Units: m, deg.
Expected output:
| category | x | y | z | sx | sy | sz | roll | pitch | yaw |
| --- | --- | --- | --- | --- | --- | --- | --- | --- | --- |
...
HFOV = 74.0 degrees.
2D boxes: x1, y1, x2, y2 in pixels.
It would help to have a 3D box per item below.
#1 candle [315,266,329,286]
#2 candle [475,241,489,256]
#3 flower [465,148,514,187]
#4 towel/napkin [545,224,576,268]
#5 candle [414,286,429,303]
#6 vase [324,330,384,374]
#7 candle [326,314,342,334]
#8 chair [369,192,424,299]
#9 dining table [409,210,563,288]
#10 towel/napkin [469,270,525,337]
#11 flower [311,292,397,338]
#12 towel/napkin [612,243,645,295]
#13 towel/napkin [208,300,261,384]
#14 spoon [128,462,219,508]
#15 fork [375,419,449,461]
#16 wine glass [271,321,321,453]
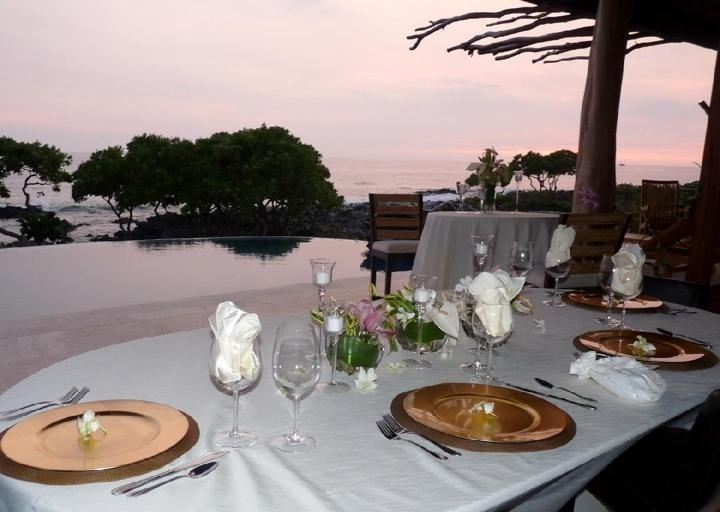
| category | x | y | z | sx | sy | sz | roll | pitch | yaw |
| --- | --- | --- | --- | --- | --- | --- | --- | --- | --- |
| candle | -0.142 | 0.079 | 1.797 | 0.079 | 0.064 | 0.071 | 1 | 3 | 2 |
| candle | 0.511 | -0.028 | 2.014 | 0.061 | 0.043 | 0.055 | 0 | 4 | -1 |
| flower | 1.437 | -0.951 | 5.273 | 0.494 | 0.306 | 0.465 | 1 | 0 | 16 |
| towel/napkin | 0.859 | -0.036 | 2.091 | 0.146 | 0.187 | 0.081 | 14 | -1 | -14 |
| candle | 0.171 | 0.109 | 1.330 | 0.047 | 0.033 | 0.041 | -2 | 16 | -4 |
| vase | -0.014 | 0.254 | 1.275 | 0.132 | 0.077 | 0.113 | 4 | -5 | -36 |
| candle | -0.059 | 0.157 | 1.109 | 0.043 | 0.040 | 0.041 | 4 | 10 | 23 |
| chair | 0.553 | -0.130 | 5.500 | 0.849 | 1.140 | 0.757 | -2 | 10 | -15 |
| dining table | 1.203 | -0.141 | 4.583 | 1.103 | 0.449 | 0.977 | 2 | 7 | -12 |
| towel/napkin | 0.345 | 0.090 | 1.280 | 0.124 | 0.083 | 0.232 | 5 | 6 | 32 |
| flower | -0.028 | 0.167 | 1.266 | 0.255 | 0.094 | 0.209 | -5 | 9 | 12 |
| towel/napkin | 0.950 | 0.062 | 1.724 | 0.138 | 0.167 | 0.120 | -5 | 30 | 11 |
| towel/napkin | -0.261 | 0.181 | 0.997 | 0.133 | 0.138 | 0.074 | 1 | 4 | -30 |
| spoon | -0.327 | 0.402 | 0.830 | 0.168 | 0.016 | 0.023 | -9 | 19 | -33 |
| fork | 0.096 | 0.377 | 0.972 | 0.180 | 0.014 | 0.045 | 10 | 13 | 42 |
| wine glass | -0.136 | 0.244 | 1.030 | 0.099 | 0.239 | 0.273 | 0 | 11 | -8 |
